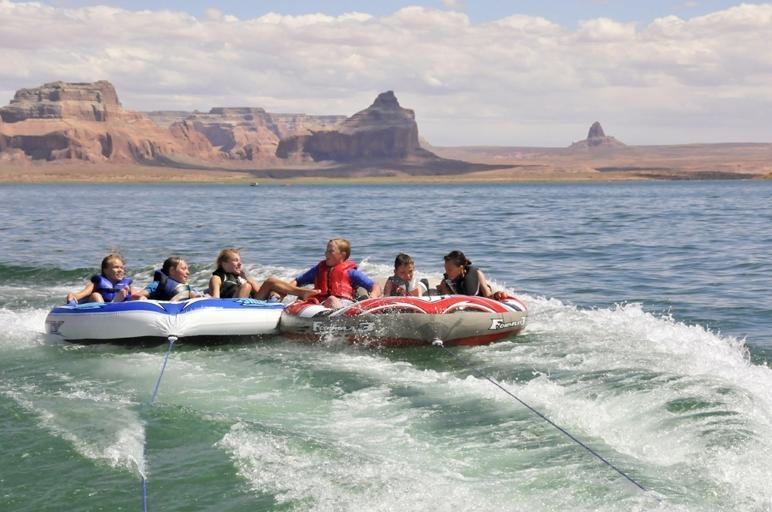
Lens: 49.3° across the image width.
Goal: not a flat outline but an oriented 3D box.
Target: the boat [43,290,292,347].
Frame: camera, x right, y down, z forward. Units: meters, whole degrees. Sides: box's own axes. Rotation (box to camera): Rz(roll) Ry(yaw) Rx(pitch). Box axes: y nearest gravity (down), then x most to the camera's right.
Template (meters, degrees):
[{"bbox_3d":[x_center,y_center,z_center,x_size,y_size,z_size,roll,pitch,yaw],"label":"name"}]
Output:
[{"bbox_3d":[-3.630,0.904,13.950,4.143,0.243,2.152,-2,12,3],"label":"boat"}]
